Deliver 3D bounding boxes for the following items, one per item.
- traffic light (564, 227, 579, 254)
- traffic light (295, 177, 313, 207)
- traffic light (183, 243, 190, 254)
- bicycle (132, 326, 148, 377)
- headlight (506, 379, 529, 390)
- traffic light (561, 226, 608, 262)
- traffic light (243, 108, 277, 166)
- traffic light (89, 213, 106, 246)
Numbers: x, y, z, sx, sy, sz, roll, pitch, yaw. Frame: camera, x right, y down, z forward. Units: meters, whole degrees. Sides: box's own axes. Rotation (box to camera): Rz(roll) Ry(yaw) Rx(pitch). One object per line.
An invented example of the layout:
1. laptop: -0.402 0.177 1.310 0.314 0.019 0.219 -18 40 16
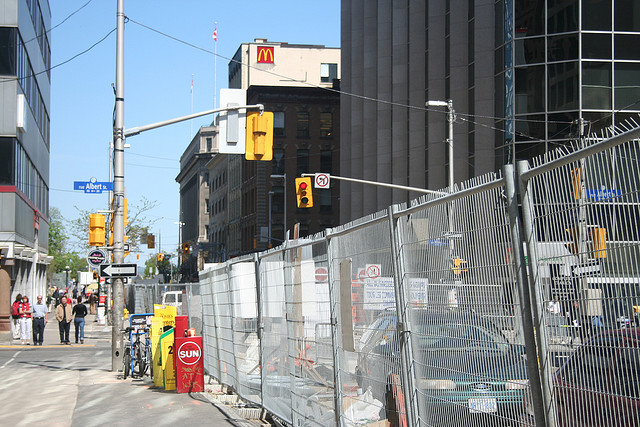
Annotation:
1. traffic light: 1.913 0.206 5.952 0.011 0.191 0.162 4 -12 -26
2. traffic light: -0.653 -0.881 32.233 0.639 1.380 0.347 -3 30 2
3. traffic light: -9.002 2.298 52.891 0.376 0.905 1.415 1 -11 -11
4. bicycle: -4.644 3.552 20.269 0.374 1.280 1.355 1 -11 -14
5. headlight: 1.615 1.397 6.444 0.053 0.081 0.222 4 -12 -26
6. traffic light: 1.975 0.228 5.846 0.213 0.274 0.259 -1 -3 -26
7. traffic light: -1.695 -2.222 21.519 0.814 1.557 1.169 0 -10 -6
8. traffic light: -7.669 0.516 27.098 0.472 1.168 0.958 1 -11 -13
